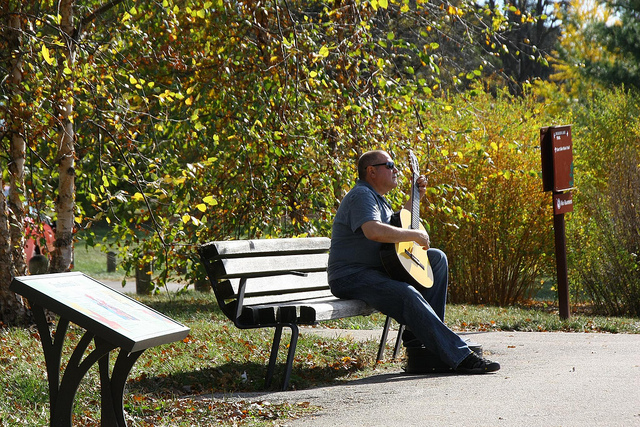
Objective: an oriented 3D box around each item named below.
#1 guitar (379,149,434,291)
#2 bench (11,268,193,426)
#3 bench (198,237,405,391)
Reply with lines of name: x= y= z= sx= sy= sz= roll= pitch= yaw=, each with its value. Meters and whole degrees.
guitar: x=1.041 y=0.082 z=12.770 sx=0.266 sy=2.025 sz=0.879 roll=-22 pitch=-52 yaw=27
bench: x=-2.288 y=1.374 z=11.251 sx=1.688 sy=2.374 sz=1.607 roll=-8 pitch=-7 yaw=21
bench: x=-0.101 y=1.160 z=12.875 sx=1.203 sy=1.742 sz=3.369 roll=-2 pitch=-2 yaw=23
